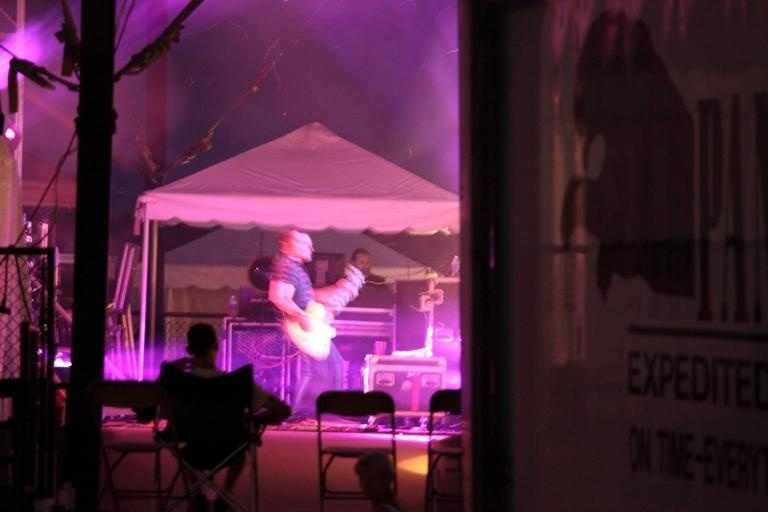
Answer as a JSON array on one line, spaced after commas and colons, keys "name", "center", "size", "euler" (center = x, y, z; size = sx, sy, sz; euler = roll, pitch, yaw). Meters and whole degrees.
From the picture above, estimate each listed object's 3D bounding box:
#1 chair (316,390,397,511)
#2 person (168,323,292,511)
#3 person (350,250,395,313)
[{"name": "chair", "center": [-0.264, 1.450, 6.564], "size": [0.689, 1.370, 0.962], "euler": [0, -4, -1]}, {"name": "person", "center": [-1.274, 1.281, 6.271], "size": [0.999, 1.541, 0.845], "euler": [-16, -24, 23]}, {"name": "person", "center": [-0.145, 0.312, 9.816], "size": [0.529, 0.928, 0.316], "euler": [-4, 11, 3]}]
